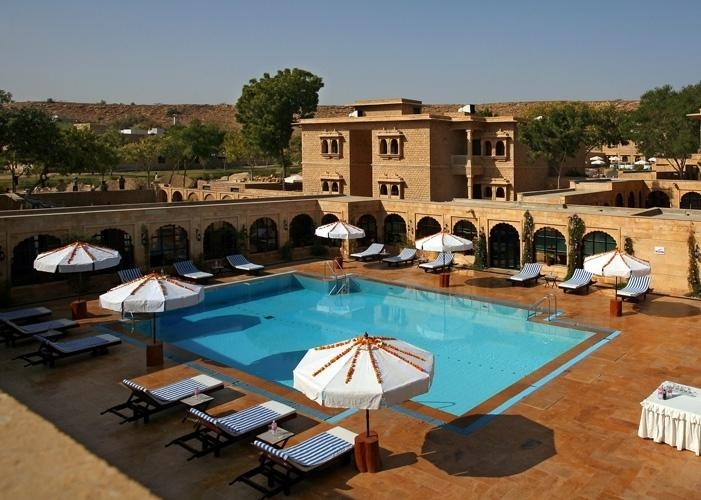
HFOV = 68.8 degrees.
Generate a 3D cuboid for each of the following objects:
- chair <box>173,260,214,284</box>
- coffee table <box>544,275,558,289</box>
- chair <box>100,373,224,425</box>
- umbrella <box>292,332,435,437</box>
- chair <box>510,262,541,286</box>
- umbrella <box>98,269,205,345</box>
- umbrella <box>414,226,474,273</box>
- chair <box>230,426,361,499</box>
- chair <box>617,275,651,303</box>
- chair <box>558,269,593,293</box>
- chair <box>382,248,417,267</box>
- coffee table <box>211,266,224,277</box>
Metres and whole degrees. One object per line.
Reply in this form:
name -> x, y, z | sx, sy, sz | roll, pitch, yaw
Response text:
chair -> -8.918, 1.286, 28.959 | 2.261, 0.867, 1.195 | 11, 16, 41
coffee table -> 10.967, 1.775, 27.943 | 0.693, 0.549, 0.694 | 3, 7, 38
chair -> -5.290, 4.280, 14.748 | 3.049, 0.786, 1.301 | -16, 19, -35
umbrella -> 0.318, 3.484, 12.847 | 3.279, 2.216, 2.878 | -2, 13, 1
chair -> 9.687, 1.398, 28.235 | 1.248, 0.935, 2.457 | 6, 14, 30
umbrella -> -6.685, 2.220, 18.026 | 3.209, 1.769, 2.867 | -1, 9, 3
umbrella -> 5.091, 0.349, 28.300 | 3.069, 1.933, 2.955 | -11, 16, -37
chair -> -1.330, 4.880, 11.869 | 3.231, 0.846, 1.233 | -12, 17, -40
chair -> 13.574, 1.860, 24.882 | 2.288, 1.093, 1.300 | -11, 12, -41
chair -> 11.578, 1.651, 26.386 | 2.091, 0.848, 1.116 | -9, 11, -43
chair -> 3.411, 0.462, 33.412 | 1.198, 0.895, 2.842 | 10, 16, 41
coffee table -> -7.939, 1.330, 30.349 | 0.706, 0.421, 0.633 | -2, 5, -7
